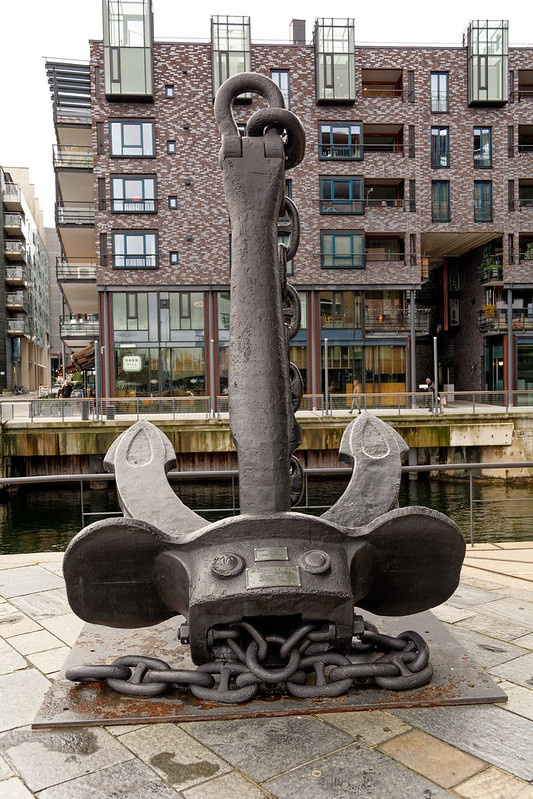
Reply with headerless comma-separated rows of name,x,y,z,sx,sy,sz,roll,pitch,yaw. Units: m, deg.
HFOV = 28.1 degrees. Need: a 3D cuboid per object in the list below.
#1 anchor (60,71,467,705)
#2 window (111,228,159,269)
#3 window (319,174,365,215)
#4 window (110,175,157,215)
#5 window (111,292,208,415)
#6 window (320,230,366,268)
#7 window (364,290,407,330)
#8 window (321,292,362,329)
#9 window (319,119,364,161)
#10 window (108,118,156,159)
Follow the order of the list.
anchor,-0.038,-0.193,5.081,1.737,2.939,1.319,-1,3,-9
window,-4.028,-4.534,31.931,1.060,1.044,0.051,-1,1,-18
window,2.330,-6.395,33.084,1.067,1.040,0.098,0,3,-3
window,-4.063,-6.147,31.875,1.077,1.002,0.049,-2,1,-25
window,-3.307,-1.451,31.688,3.074,4.151,0.270,-1,3,-16
window,2.358,-4.635,33.015,0.990,0.981,0.124,1,-2,-4
window,3.813,-2.868,34.004,1.153,1.439,1.256,-1,-2,-1
window,2.316,-2.838,33.439,1.002,1.314,0.080,0,-1,-7
window,2.291,-8.124,33.144,1.096,1.065,0.088,-1,6,-6
window,-4.092,-7.844,31.734,1.036,0.993,0.162,-3,10,-19
